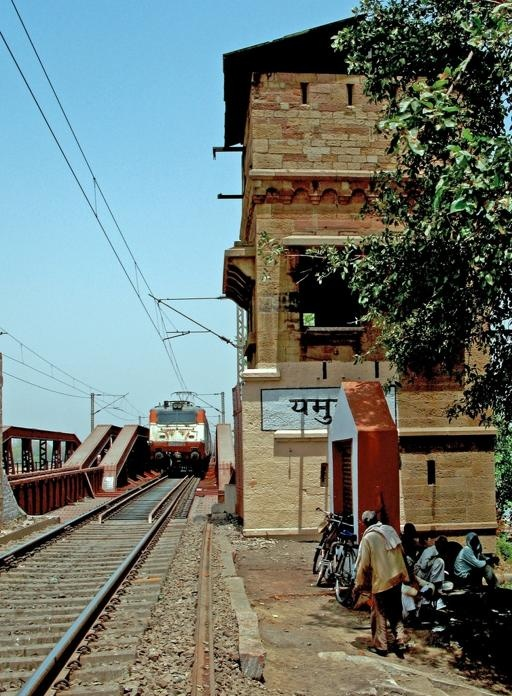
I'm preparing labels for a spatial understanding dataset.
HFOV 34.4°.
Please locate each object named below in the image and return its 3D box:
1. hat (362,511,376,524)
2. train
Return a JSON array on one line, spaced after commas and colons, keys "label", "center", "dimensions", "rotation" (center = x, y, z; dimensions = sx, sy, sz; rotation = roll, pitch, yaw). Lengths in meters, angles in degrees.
[{"label": "hat", "center": [1.266, 1.873, 9.203], "dimensions": [0.150, 0.130, 0.109], "rotation": [4, -6, -4]}, {"label": "train", "center": [-3.518, 4.150, 37.725], "dimensions": [2.107, 2.929, 6.213], "rotation": [-1, -6, -4]}]
